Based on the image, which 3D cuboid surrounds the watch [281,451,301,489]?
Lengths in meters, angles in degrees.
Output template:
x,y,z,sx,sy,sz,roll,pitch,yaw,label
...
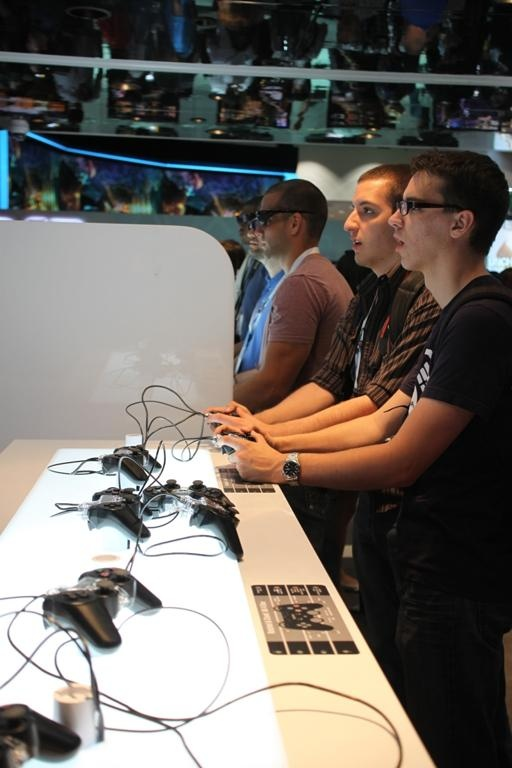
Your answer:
x,y,z,sx,sy,sz,roll,pitch,yaw,label
0.073,0.177,1.222,0.043,0.062,0.063,1,-2,6,watch
